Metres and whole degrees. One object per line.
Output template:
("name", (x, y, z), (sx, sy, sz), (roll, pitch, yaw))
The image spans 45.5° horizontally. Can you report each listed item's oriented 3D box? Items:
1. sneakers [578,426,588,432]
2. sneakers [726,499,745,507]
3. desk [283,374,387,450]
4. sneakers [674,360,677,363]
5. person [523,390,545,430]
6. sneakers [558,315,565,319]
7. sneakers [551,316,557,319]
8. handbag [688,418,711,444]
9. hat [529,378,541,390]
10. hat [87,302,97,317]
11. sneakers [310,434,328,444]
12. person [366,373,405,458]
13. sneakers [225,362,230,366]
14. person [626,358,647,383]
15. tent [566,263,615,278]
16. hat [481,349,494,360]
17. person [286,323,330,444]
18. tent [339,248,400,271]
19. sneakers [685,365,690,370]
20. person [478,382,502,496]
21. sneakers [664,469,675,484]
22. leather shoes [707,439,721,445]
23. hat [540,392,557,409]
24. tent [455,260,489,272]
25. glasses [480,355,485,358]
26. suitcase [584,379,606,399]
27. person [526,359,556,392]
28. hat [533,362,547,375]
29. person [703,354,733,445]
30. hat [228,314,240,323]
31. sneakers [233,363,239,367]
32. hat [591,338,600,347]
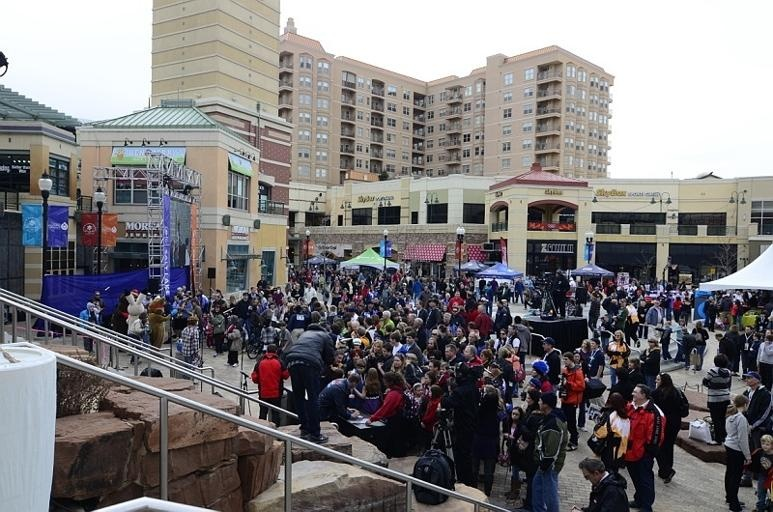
("sneakers", (7.275, 6.384, 33.948), (0.144, 0.164, 0.390), (1, -9, -15))
("sneakers", (11.738, 8.271, 30.827), (0.658, 0.268, 0.230), (-3, -1, 20))
("desk", (-1.163, 5.466, 31.985), (2.539, 2.521, 2.638), (-1, 3, -33))
("sneakers", (12.923, 4.668, 40.982), (0.142, 0.193, 0.112), (-3, -4, -7))
("person", (4.854, 5.071, 30.102), (0.767, 1.504, 1.113), (4, -5, -1))
("sneakers", (7.882, 2.717, 41.152), (0.257, 0.133, 0.462), (2, -2, 6))
("sneakers", (7.557, 2.747, 41.121), (0.209, 0.207, 0.113), (-1, -3, 0))
("handbag", (11.366, 6.331, 33.276), (0.329, 0.725, 0.826), (-7, 7, -38))
("hat", (5.228, 4.438, 32.109), (0.394, 0.361, 0.565), (2, -2, 9))
("hat", (-11.786, 2.152, 37.105), (0.402, 0.510, 0.516), (0, -2, -36))
("sneakers", (-2.165, 5.906, 29.722), (0.583, 0.250, 0.233), (1, 0, -15))
("person", (0.117, 5.420, 31.361), (1.012, 2.862, 0.398), (2, -2, -1))
("sneakers", (-6.558, 4.444, 38.102), (0.080, 0.135, 0.291), (3, -2, -27))
("person", (8.859, 4.070, 32.609), (0.522, 0.837, 1.382), (2, -2, 15))
("tent", (12.468, 0.912, 56.224), (1.655, 0.661, 1.584), (5, -3, -44))
("hat", (3.607, 3.478, 32.671), (0.410, 0.349, 0.296), (2, -2, 3))
("person", (-2.535, 4.116, 30.098), (1.461, 3.743, 0.968), (2, -2, -3))
("tent", (-1.260, 0.295, 57.699), (2.317, 1.160, 2.524), (2, 0, 37))
("sneakers", (13.191, 4.844, 40.173), (0.095, 0.174, 0.292), (4, -3, -38))
("person", (3.453, 6.141, 30.793), (0.726, 3.727, 1.048), (2, -2, 7))
("sneakers", (9.704, 7.534, 31.521), (0.146, 0.413, 0.288), (14, -5, 37))
("leather shoes", (11.838, 6.701, 33.136), (0.447, 0.193, 0.156), (4, -3, 22))
("hat", (5.317, 4.701, 29.965), (0.407, 0.537, 0.504), (9, -43, 1))
("tent", (5.281, 0.638, 55.894), (1.097, 0.446, 1.078), (1, 5, 20))
("glasses", (3.453, 3.559, 32.676), (0.104, 0.106, 0.081), (5, 6, 45))
("suitcase", (7.579, 4.813, 33.395), (0.677, 0.693, 0.855), (0, 3, 11))
("person", (5.458, 4.252, 32.518), (0.692, 1.270, 1.307), (3, 12, -7))
("hat", (5.471, 3.891, 32.381), (0.443, 0.381, 0.347), (24, -42, -28))
("person", (11.718, 5.037, 32.495), (0.858, 3.183, 1.321), (2, -2, 19))
("hat", (-6.318, 2.641, 38.302), (0.394, 0.310, 0.364), (24, -6, -25))
("sneakers", (-6.249, 4.493, 38.133), (0.137, 0.146, 0.346), (-2, -9, 7))
("hat", (7.955, 3.268, 34.915), (0.298, 0.302, 0.232), (5, -7, -9))
